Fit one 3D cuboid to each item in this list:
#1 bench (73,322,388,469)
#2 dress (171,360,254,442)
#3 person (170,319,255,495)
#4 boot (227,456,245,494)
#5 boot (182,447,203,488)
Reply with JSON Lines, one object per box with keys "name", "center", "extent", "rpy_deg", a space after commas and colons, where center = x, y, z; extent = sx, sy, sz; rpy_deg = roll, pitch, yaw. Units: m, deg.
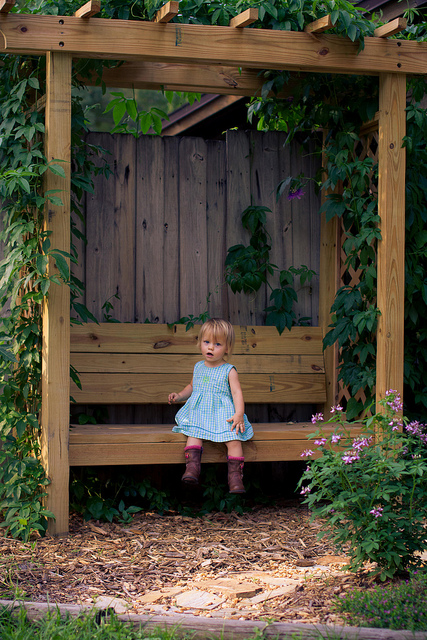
{"name": "bench", "center": [-0.015, 0.459, 3.412], "extent": [1.574, 0.729, 0.732], "rpy_deg": [2, 3, -13]}
{"name": "dress", "center": [-0.002, 0.398, 3.265], "extent": [0.416, 0.382, 0.274], "rpy_deg": [2, 0, 5]}
{"name": "person", "center": [-0.019, 0.452, 3.321], "extent": [0.416, 0.908, 0.694], "rpy_deg": [1, -5, -2]}
{"name": "boot", "center": [0.103, 0.728, 3.058], "extent": [0.079, 0.187, 0.157], "rpy_deg": [1, -5, 0]}
{"name": "boot", "center": [-0.099, 0.665, 3.008], "extent": [0.084, 0.167, 0.182], "rpy_deg": [-5, -10, 12]}
